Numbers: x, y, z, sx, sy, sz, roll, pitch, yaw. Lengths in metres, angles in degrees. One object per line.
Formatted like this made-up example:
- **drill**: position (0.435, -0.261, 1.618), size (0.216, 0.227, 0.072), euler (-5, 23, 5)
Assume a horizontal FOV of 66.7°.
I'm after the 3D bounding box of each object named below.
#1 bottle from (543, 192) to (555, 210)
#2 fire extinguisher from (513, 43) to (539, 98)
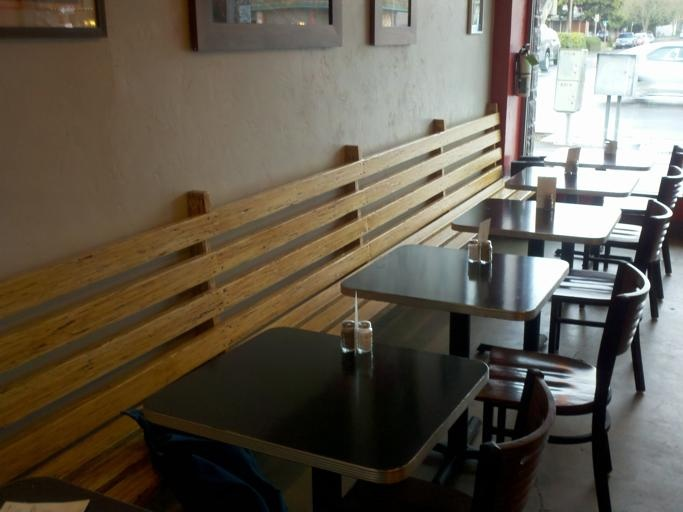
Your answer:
- **bottle**: position (1.547, -0.410, 3.859), size (0.084, 0.156, 0.088), euler (-1, 21, 0)
- **fire extinguisher**: position (2.375, -2.372, 6.672), size (0.292, 0.609, 0.332), euler (12, 25, 28)
